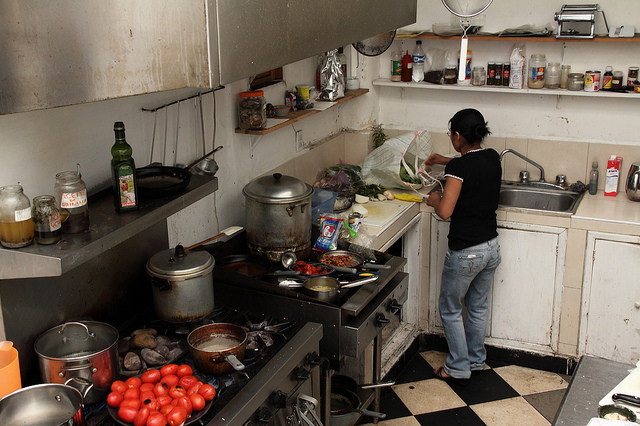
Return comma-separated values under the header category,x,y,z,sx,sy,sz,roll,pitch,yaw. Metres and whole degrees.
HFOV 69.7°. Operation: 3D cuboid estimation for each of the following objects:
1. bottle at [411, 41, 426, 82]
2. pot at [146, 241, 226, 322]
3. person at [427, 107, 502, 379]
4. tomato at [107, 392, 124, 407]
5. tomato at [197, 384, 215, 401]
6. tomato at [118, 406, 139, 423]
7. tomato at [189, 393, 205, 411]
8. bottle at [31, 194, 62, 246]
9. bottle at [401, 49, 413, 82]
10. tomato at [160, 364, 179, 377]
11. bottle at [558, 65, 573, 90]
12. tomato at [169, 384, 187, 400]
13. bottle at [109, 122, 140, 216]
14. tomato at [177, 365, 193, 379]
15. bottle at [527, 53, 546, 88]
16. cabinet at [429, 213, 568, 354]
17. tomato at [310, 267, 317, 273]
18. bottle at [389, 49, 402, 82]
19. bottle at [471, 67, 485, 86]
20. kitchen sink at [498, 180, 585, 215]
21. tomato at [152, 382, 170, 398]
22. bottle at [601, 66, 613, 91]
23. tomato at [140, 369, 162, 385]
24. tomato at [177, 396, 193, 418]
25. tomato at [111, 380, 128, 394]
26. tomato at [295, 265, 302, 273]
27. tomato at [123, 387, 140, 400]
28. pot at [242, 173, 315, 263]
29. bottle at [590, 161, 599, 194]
category,x,y,z,sx,sy,sz,roll,pitch,yaw
bottle,0.841,-1.286,3.918,0.090,0.324,0.153,10,22,30
pot,-0.613,0.290,2.146,0.285,0.354,0.310,8,18,-3
person,1.044,0.258,3.241,0.615,1.932,0.377,-12,21,-28
tomato,-0.750,0.677,1.686,0.047,0.046,0.048,18,-17,-22
tomato,-0.426,0.668,1.724,0.053,0.052,0.055,-7,-16,25
tomato,-0.682,0.709,1.634,0.059,0.045,0.034,7,34,13
tomato,-0.449,0.689,1.686,0.044,0.057,0.045,-37,-24,26
bottle,-0.977,0.025,1.643,0.094,0.152,0.105,-13,22,-31
bottle,0.731,-1.232,3.930,0.098,0.216,0.068,4,20,16
tomato,-0.596,0.618,1.819,0.053,0.030,0.039,-17,10,-22
bottle,1.894,-1.052,3.568,0.088,0.173,0.155,9,21,27
tomato,-0.536,0.662,1.716,0.046,0.025,0.046,11,28,-17
bottle,-0.813,-0.193,1.882,0.102,0.342,0.242,-10,21,-23
tomato,-0.533,0.619,1.821,0.043,0.044,0.046,3,1,18
bottle,1.690,-1.110,3.608,0.118,0.244,0.123,-1,19,0
cabinet,1.542,0.461,3.741,1.023,0.996,0.734,9,21,25
tomato,-0.039,0.309,2.531,0.032,0.012,0.045,-12,22,-28
bottle,0.655,-1.281,4.003,0.104,0.263,0.196,1,19,7
bottle,1.272,-1.100,3.716,0.100,0.130,0.137,2,22,10
kitchen sink,1.751,-0.171,3.776,0.689,0.271,0.671,7,20,24
tomato,-0.599,0.662,1.735,0.045,0.044,0.046,28,31,-4
bottle,2.159,-1.013,3.471,0.062,0.170,0.122,2,19,11
tomato,-0.662,0.629,1.797,0.063,0.048,0.046,-12,14,-38
tomato,-0.491,0.695,1.671,0.045,0.062,0.048,-5,-4,-28
tomato,-0.751,0.648,1.725,0.044,0.042,0.042,41,-10,-17
tomato,-0.124,0.307,2.540,0.031,0.024,0.031,0,8,3
tomato,-0.697,0.666,1.701,0.058,0.031,0.046,-11,22,-27
pot,-0.211,0.045,2.706,0.364,0.518,0.356,8,21,-3
bottle,2.139,-0.283,3.593,0.062,0.238,0.165,10,22,29
